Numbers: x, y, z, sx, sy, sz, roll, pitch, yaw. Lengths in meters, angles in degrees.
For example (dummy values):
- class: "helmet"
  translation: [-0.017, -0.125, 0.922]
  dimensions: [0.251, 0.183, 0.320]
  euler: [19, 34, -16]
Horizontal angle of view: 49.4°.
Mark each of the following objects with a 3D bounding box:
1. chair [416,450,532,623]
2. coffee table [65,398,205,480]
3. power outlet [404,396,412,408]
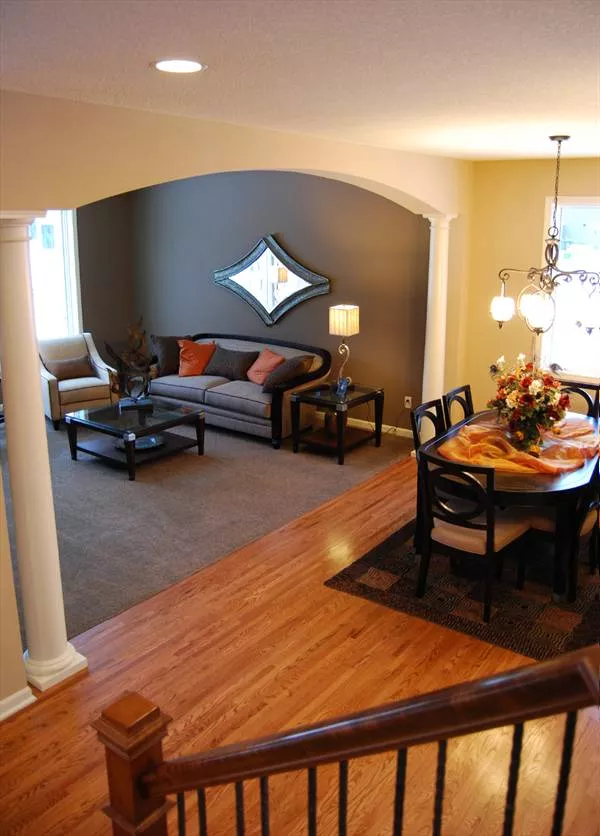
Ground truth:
- class: "chair"
  translation: [1.031, 0.696, 3.852]
  dimensions: [0.604, 0.998, 0.640]
  euler: [16, 33, 36]
- class: "coffee table"
  translation: [-1.502, 0.094, 6.355]
  dimensions: [0.960, 0.458, 0.980]
  euler: [16, 22, 39]
- class: "power outlet"
  translation: [1.145, -0.172, 6.929]
  dimensions: [0.022, 0.146, 0.108]
  euler: [-17, 22, -41]
